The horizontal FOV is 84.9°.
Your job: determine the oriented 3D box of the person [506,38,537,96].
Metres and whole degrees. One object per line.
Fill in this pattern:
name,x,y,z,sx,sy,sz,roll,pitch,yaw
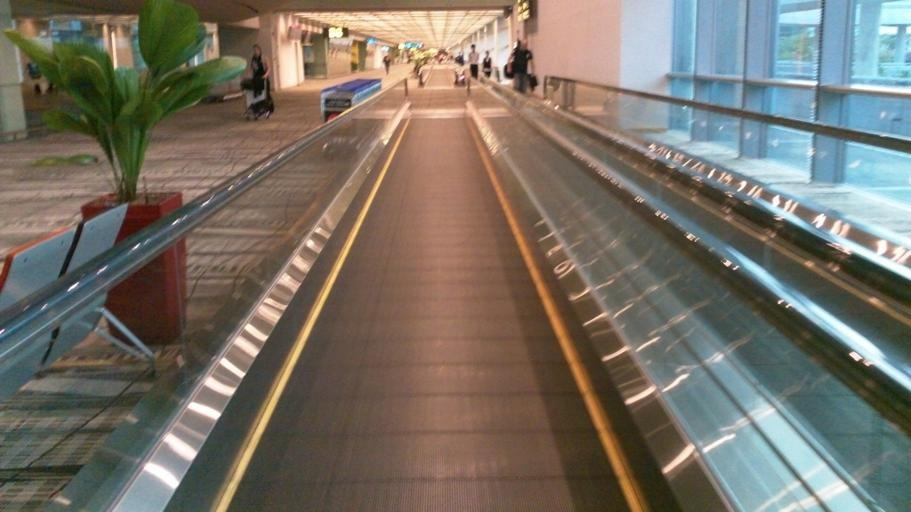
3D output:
person,2.034,-5.705,15.125,0.785,1.531,2.253,1,23,6

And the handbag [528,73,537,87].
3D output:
handbag,2.300,-5.282,14.990,0.301,0.287,0.542,-15,10,10

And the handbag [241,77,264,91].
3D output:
handbag,-6.127,-5.261,15.302,0.435,0.204,0.565,2,21,0
